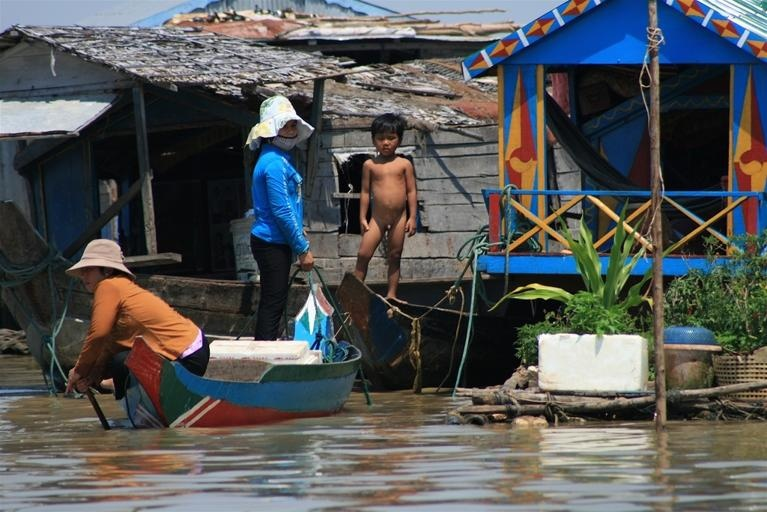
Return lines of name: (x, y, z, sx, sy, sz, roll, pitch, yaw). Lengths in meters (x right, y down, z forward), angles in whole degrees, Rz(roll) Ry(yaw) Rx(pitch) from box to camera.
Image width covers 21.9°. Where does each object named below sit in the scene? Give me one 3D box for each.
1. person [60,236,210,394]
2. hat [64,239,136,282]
person: (-2.700, 0.665, 21.700, 1.446, 1.301, 0.607, -1, 0, -3)
hat: (-3.079, 0.014, 21.789, 0.560, 0.265, 0.515, 8, -9, -34)
